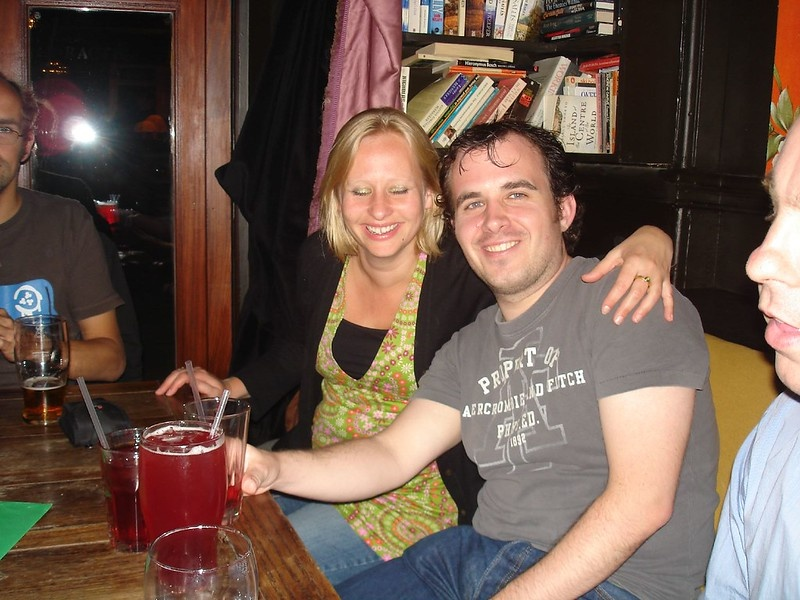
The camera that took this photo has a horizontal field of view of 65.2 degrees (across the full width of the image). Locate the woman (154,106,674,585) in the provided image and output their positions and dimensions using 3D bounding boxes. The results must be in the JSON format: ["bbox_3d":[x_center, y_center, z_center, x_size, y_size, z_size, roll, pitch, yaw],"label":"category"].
[{"bbox_3d":[-0.033,0.168,1.913,1.466,1.384,1.006,0,10,-1],"label":"woman"}]

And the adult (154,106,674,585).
[{"bbox_3d":[-0.045,0.171,1.934,1.500,1.399,0.969,0,7,-4],"label":"adult"}]

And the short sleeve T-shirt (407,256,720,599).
[{"bbox_3d":[0.360,0.306,1.383,0.347,0.548,0.636,10,-15,-27],"label":"short sleeve T-shirt"}]

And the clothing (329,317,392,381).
[{"bbox_3d":[-0.131,0.155,1.945,0.159,0.168,0.040,18,-3,30],"label":"clothing"}]
